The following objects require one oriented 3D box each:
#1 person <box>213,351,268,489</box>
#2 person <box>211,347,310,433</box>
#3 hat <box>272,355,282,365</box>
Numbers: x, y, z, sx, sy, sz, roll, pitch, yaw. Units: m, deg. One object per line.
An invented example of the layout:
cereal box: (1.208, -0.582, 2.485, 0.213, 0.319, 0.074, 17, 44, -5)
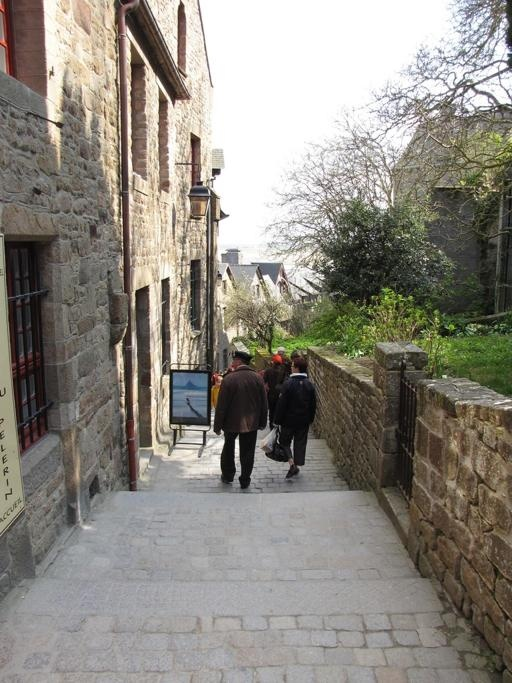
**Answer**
person: (-0.167, 0.832, 5.345, 0.544, 1.609, 0.441, 0, 13, -10)
person: (-0.159, 0.562, 5.246, 0.592, 0.910, 0.402, 1, -4, -6)
hat: (0.379, 0.308, 8.492, 0.106, 0.147, 0.164, 0, -5, -2)
